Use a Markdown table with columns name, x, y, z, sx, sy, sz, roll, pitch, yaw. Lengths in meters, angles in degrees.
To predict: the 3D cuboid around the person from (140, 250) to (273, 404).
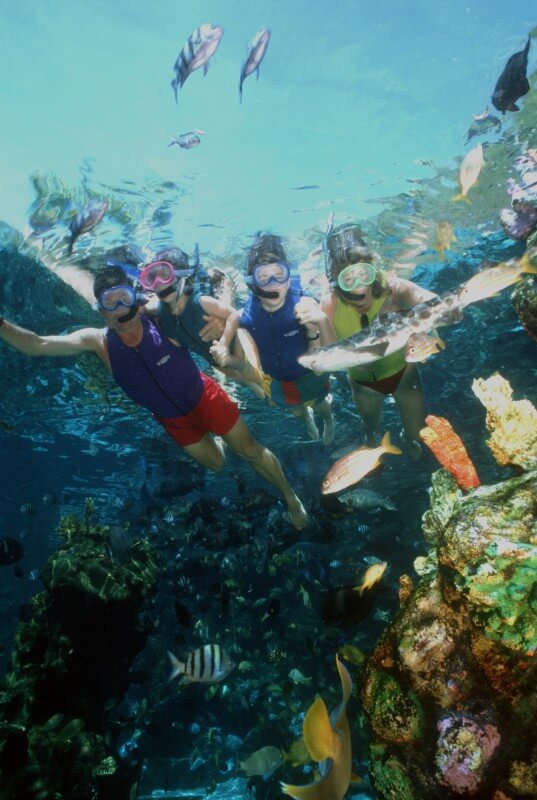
| name | x | y | z | sx | sy | sz | roll | pitch | yaw |
| --- | --- | --- | --- | --- | --- | --- | --- | --- | --- |
| person | -0.681 | -0.714 | 7.194 | 0.581 | 1.962 | 0.925 | -13 | 20 | 29 |

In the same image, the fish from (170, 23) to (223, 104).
| name | x | y | z | sx | sy | sz | roll | pitch | yaw |
| --- | --- | --- | --- | --- | --- | --- | --- | --- | --- |
| fish | -0.757 | -3.447 | 6.737 | 0.667 | 0.484 | 0.257 | -10 | 21 | 31 |

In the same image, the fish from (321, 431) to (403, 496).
| name | x | y | z | sx | sy | sz | roll | pitch | yaw |
| --- | --- | --- | --- | --- | --- | --- | --- | --- | --- |
| fish | 0.898 | 0.624 | 6.573 | 0.803 | 0.540 | 0.453 | -17 | 18 | 10 |

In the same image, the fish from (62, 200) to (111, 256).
| name | x | y | z | sx | sy | sz | roll | pitch | yaw |
| --- | --- | --- | --- | --- | --- | --- | --- | --- | --- |
| fish | -1.945 | -1.867 | 7.157 | 0.708 | 0.237 | 0.283 | -50 | -1 | 15 |

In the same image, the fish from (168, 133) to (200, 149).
| name | x | y | z | sx | sy | sz | roll | pitch | yaw |
| --- | --- | --- | --- | --- | --- | --- | --- | --- | --- |
| fish | -0.909 | -2.775 | 7.084 | 0.288 | 0.136 | 0.060 | -8 | 48 | -5 |
